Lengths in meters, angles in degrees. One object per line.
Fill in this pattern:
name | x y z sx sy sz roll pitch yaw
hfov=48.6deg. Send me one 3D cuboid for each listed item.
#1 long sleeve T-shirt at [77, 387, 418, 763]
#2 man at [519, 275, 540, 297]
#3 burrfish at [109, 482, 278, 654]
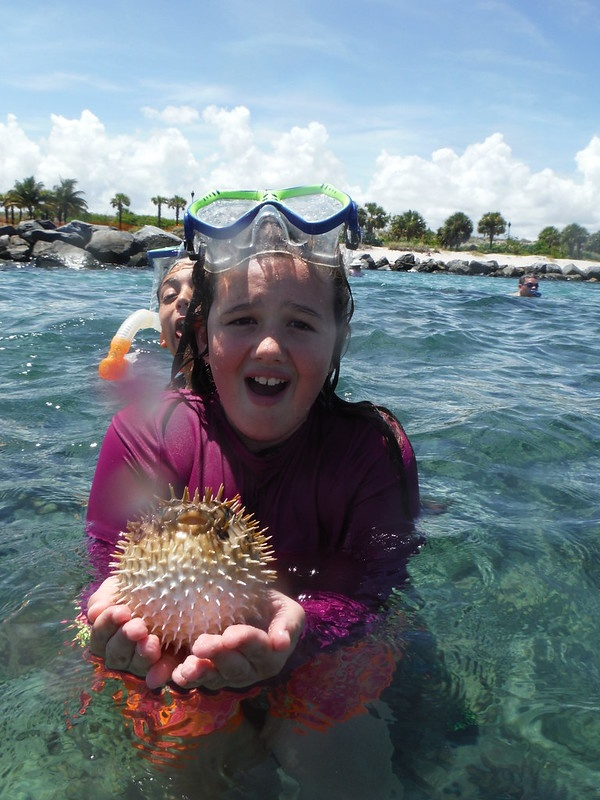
long sleeve T-shirt | -0.086 0.456 1.995 0.848 0.974 1.010 0 -7 3
man | 5.768 -2.805 16.639 0.515 0.527 1.187 9 13 18
burrfish | -0.240 0.370 1.666 0.422 0.369 0.402 4 1 -4
